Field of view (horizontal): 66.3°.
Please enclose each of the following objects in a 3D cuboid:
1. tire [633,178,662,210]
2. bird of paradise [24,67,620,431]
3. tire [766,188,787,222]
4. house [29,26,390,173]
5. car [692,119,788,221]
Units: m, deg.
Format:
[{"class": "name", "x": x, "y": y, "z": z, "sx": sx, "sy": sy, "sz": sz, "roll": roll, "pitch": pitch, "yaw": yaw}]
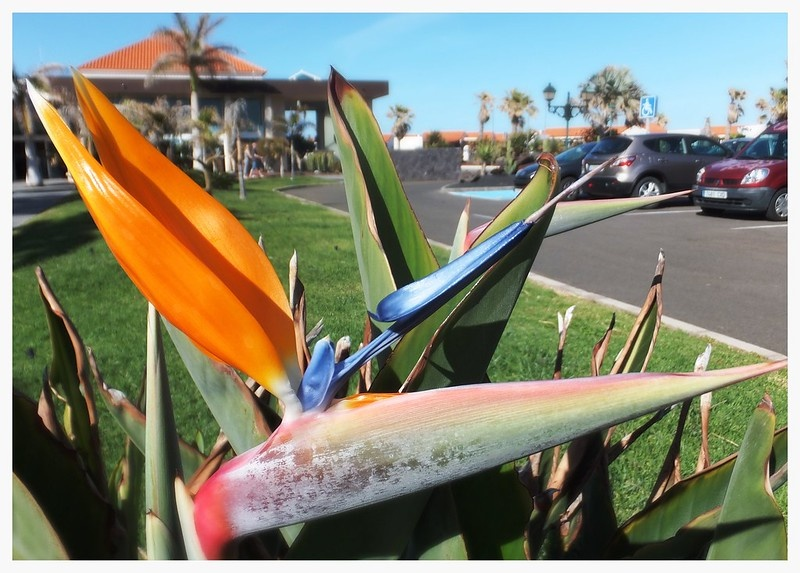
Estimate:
[{"class": "tire", "x": 4.817, "y": -1.828, "z": 11.928, "sx": 0.795, "sy": 0.648, "sz": 0.425, "roll": -12, "pitch": 19, "yaw": -38}, {"class": "bird of paradise", "x": -0.138, "y": -0.049, "z": 0.665, "sx": 0.514, "sy": 0.346, "sz": 0.138, "roll": 4, "pitch": 14, "yaw": 11}, {"class": "tire", "x": 5.875, "y": -1.290, "z": 9.608, "sx": 0.262, "sy": 0.553, "sz": 0.339, "roll": 9, "pitch": 17, "yaw": 31}, {"class": "house", "x": -8.726, "y": -9.632, "z": 30.053, "sx": 13.301, "sy": 5.460, "sz": 10.494, "roll": -3, "pitch": 13, "yaw": -8}, {"class": "car", "x": 5.917, "y": -2.021, "z": 10.638, "sx": 1.242, "sy": 1.616, "sz": 2.589, "roll": 14, "pitch": 15, "yaw": 38}]
